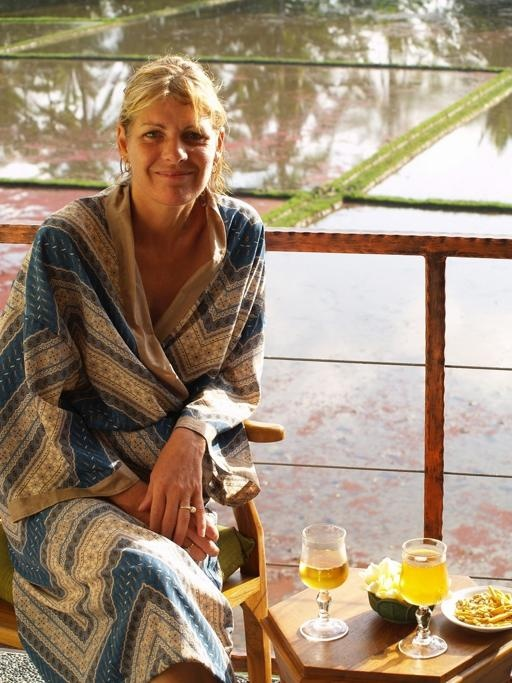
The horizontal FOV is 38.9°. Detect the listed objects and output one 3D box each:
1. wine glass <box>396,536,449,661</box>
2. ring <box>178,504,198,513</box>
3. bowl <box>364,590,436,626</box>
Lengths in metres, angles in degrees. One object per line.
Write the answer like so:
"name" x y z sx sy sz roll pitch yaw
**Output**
"wine glass" 0.286 0.420 1.240 0.083 0.169 0.187 -1 6 13
"ring" -0.114 0.276 1.205 0.022 0.008 0.018 5 -8 36
"bowl" 0.239 0.456 1.253 0.076 0.026 0.065 3 3 11
